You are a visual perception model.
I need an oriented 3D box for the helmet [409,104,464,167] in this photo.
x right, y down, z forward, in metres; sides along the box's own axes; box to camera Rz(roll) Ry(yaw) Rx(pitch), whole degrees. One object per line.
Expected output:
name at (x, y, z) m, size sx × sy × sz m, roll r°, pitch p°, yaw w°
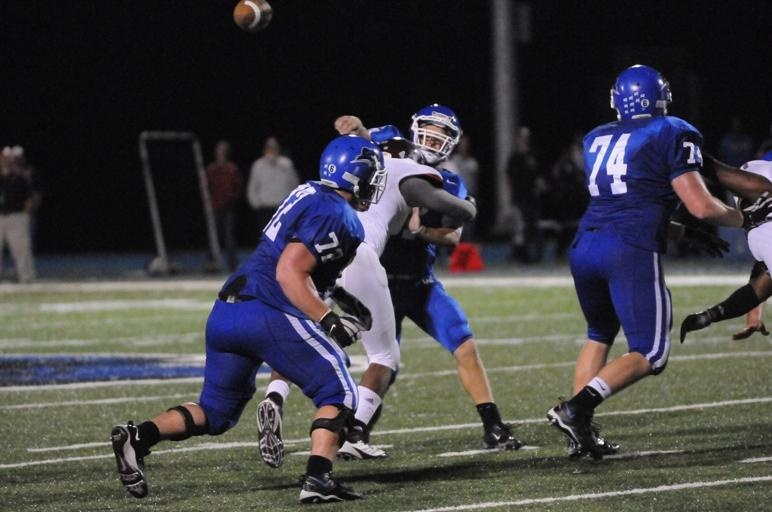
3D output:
helmet at (0.408, -1.002, 8.565) m, size 0.385 × 0.460 × 0.470 m, roll 23°, pitch 11°, yaw -10°

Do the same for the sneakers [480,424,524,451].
sneakers at (0.888, 1.420, 8.114) m, size 0.383 × 0.242 × 0.136 m, roll 1°, pitch 0°, yaw 3°

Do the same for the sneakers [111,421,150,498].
sneakers at (-1.761, 1.438, 7.170) m, size 0.211 × 0.570 × 0.177 m, roll -3°, pitch 8°, yaw -16°

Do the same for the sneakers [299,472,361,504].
sneakers at (-0.404, 1.621, 7.297) m, size 0.485 × 0.239 × 0.169 m, roll 1°, pitch 2°, yaw -15°

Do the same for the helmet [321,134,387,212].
helmet at (-0.268, -0.616, 7.591) m, size 0.428 × 0.511 × 0.555 m, roll 18°, pitch 9°, yaw 42°

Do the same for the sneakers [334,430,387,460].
sneakers at (-0.200, 1.490, 8.199) m, size 0.501 × 0.268 × 0.171 m, roll 2°, pitch 3°, yaw -7°

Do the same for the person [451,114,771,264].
person at (2.101, -0.571, 8.061) m, size 1.369 × 1.319 × 0.873 m, roll 6°, pitch 7°, yaw 37°

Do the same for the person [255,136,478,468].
person at (0.024, 0.390, 8.404) m, size 1.445 × 2.779 × 1.182 m, roll 1°, pitch -20°, yaw 6°

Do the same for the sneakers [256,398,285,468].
sneakers at (-0.798, 1.244, 7.405) m, size 0.179 × 0.499 × 0.209 m, roll -4°, pitch -6°, yaw 4°

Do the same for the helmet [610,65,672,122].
helmet at (1.984, -1.280, 8.135) m, size 0.501 × 0.427 × 0.398 m, roll -11°, pitch 21°, yaw -18°
